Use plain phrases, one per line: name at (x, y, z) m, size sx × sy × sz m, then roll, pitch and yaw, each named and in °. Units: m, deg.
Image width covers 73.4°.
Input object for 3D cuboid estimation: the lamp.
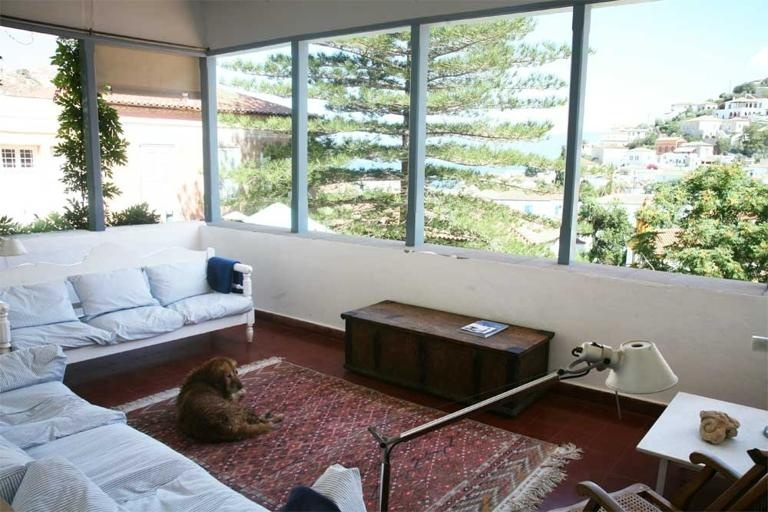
lamp at (1.148, 1.391, 4.082) m, size 2.480 × 1.105 × 0.587 m, roll -14°, pitch 19°, yaw 0°
